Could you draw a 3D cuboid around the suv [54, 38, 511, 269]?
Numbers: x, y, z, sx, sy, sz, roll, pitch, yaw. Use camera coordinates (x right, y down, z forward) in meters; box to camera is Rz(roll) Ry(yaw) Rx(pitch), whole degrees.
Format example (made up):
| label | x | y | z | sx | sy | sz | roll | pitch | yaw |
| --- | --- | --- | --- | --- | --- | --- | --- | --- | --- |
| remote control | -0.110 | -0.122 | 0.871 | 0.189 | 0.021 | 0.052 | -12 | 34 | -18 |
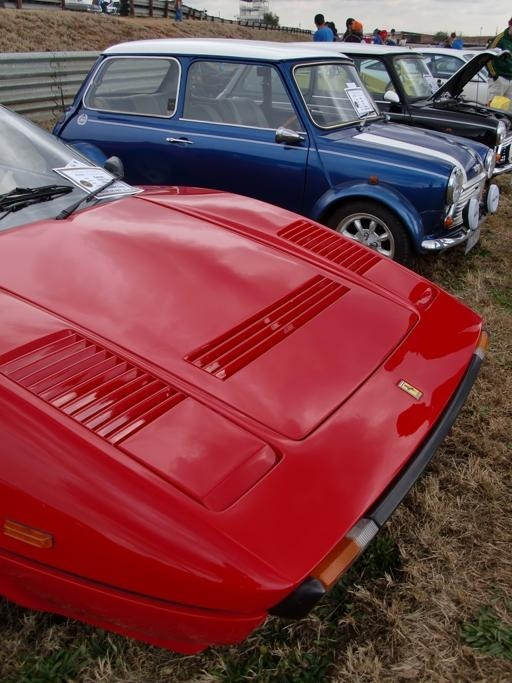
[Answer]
| label | x | y | z | sx | sy | sz | roll | pitch | yaw |
| --- | --- | --- | --- | --- | --- | --- | --- | --- | --- |
| suv | 0.100 | -1.713 | 4.622 | 3.535 | 1.404 | 1.975 | 14 | 38 | 17 |
